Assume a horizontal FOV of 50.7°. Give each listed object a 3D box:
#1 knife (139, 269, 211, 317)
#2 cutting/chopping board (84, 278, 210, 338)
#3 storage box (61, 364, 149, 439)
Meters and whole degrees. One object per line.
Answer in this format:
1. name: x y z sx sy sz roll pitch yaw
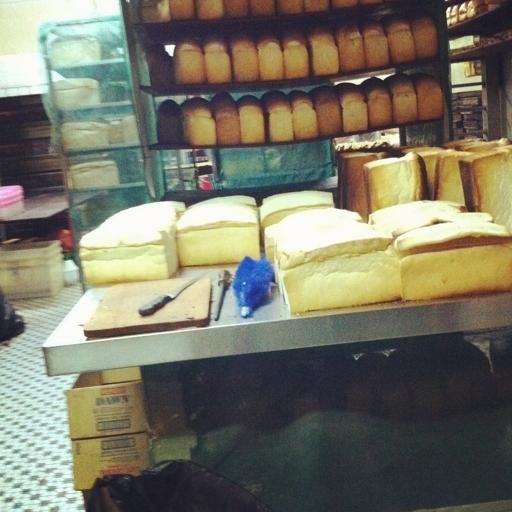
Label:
1. knife: -0.250 0.113 1.631 0.050 0.020 0.282 5 16 26
2. cutting/chopping board: -0.324 0.133 1.618 0.350 0.040 0.358 -2 24 9
3. storage box: -0.470 0.458 1.730 0.291 0.151 0.262 -3 10 -1
